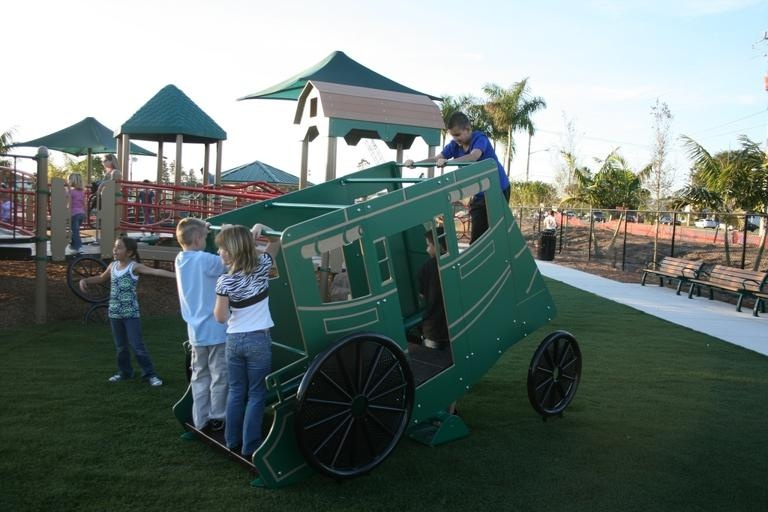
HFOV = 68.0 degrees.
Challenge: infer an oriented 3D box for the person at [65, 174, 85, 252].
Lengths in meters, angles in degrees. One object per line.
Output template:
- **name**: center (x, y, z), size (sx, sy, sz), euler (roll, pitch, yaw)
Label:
- **person**: center (-6.104, -0.923, 11.274), size (0.301, 1.388, 1.130), euler (-4, 13, -29)

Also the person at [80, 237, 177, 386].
- **person**: center (-3.231, 0.700, 7.313), size (0.612, 1.917, 1.374), euler (-8, 16, -41)

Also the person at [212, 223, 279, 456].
- **person**: center (-1.358, 0.815, 5.696), size (0.542, 2.225, 0.677), euler (-8, 15, -40)

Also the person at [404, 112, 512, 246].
- **person**: center (1.110, -1.060, 7.381), size (0.929, 1.618, 1.465), euler (-4, 14, -30)

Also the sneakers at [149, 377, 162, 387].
- **sneakers**: center (-2.944, 1.609, 7.325), size (0.086, 0.079, 0.182), euler (-7, -2, -34)

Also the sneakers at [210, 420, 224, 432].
- **sneakers**: center (-1.791, 1.783, 6.103), size (0.086, 0.076, 0.193), euler (8, 15, 27)

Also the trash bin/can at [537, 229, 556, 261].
- **trash bin/can**: center (6.707, -0.475, 23.394), size (0.652, 1.289, 0.436), euler (4, 12, 6)

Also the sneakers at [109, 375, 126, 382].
- **sneakers**: center (-3.488, 1.586, 7.445), size (0.080, 0.073, 0.160), euler (1, -4, 8)
